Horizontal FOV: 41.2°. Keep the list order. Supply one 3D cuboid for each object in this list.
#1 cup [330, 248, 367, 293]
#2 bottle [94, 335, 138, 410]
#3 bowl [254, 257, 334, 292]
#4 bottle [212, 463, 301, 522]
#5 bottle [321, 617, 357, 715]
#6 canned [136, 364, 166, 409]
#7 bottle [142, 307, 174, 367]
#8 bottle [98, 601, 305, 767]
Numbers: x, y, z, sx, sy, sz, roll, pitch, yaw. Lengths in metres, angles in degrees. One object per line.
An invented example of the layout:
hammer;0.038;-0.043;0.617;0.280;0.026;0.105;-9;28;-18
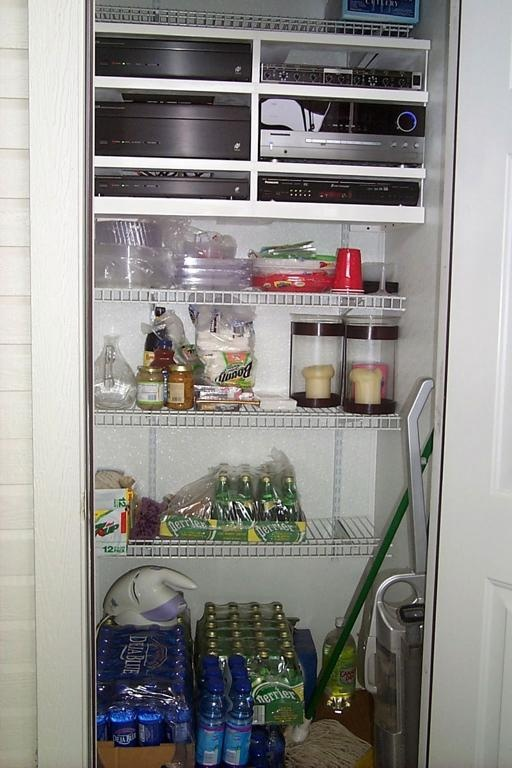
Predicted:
cup;0.236;-0.282;1.752;0.109;0.148;0.105;1;2;0
bottle;-0.368;-0.028;1.779;0.105;0.191;0.082;-2;5;-11
bowl;0.101;-0.275;1.755;0.148;0.061;0.109;1;3;-4
bottle;-0.003;0.305;1.906;0.250;0.116;0.261;-2;5;0
bottle;0.242;0.787;1.967;0.096;0.270;0.200;-1;5;8
canned;-0.270;0.015;1.731;0.093;0.141;0.094;1;-3;-24
bottle;-0.267;-0.124;1.858;0.078;0.166;0.218;-2;5;-8
bottle;-0.141;0.718;1.707;0.498;0.228;0.438;-3;5;-12
